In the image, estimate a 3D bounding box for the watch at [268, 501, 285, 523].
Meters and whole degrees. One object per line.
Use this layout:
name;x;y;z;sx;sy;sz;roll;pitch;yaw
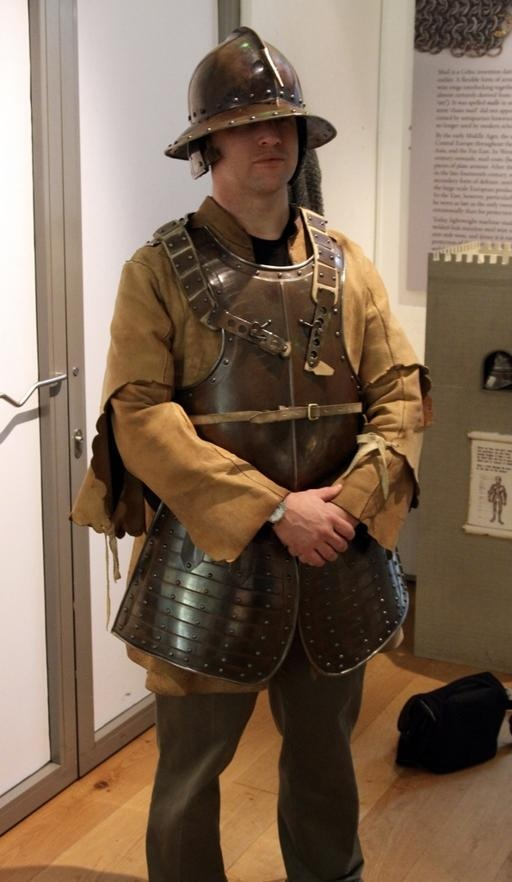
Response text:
watch;0.028;0.093;0.924;0.006;0.024;0.024;27;29;19

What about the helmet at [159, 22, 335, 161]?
helmet;-0.013;-0.504;1.043;0.239;0.173;0.243;-1;10;18

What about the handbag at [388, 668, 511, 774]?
handbag;0.511;0.714;1.919;0.285;0.199;0.173;-34;30;-29
